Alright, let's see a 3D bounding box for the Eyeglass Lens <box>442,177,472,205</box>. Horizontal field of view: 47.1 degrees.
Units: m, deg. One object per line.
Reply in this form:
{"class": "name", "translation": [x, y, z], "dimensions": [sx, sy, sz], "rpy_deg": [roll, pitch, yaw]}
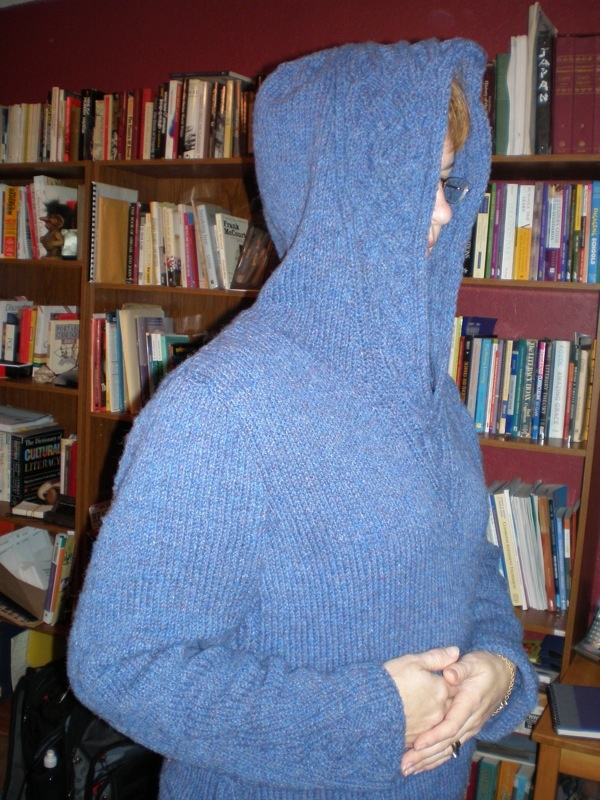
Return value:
{"class": "Eyeglass Lens", "translation": [0.232, -0.313, 1.026], "dimensions": [0.063, 0.021, 0.064], "rpy_deg": [9, 34, 10]}
